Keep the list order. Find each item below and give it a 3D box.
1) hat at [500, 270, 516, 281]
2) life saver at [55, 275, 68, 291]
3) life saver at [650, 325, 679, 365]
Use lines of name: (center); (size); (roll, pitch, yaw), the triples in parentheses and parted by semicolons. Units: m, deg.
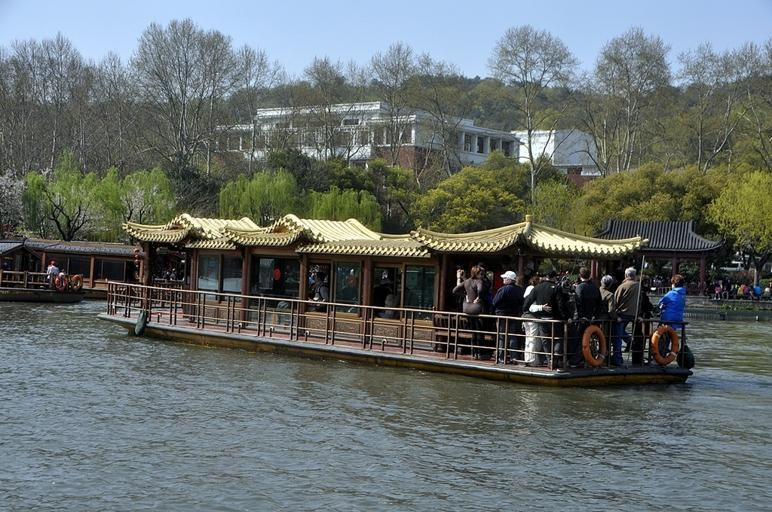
hat: (4.087, 0.649, 33.467); (0.336, 0.176, 0.270); (17, 9, 5)
life saver: (-17.539, 1.438, 54.773); (0.615, 0.784, 0.272); (5, 2, 14)
life saver: (9.224, 2.944, 33.596); (1.110, 1.269, 0.318); (2, 3, -38)
